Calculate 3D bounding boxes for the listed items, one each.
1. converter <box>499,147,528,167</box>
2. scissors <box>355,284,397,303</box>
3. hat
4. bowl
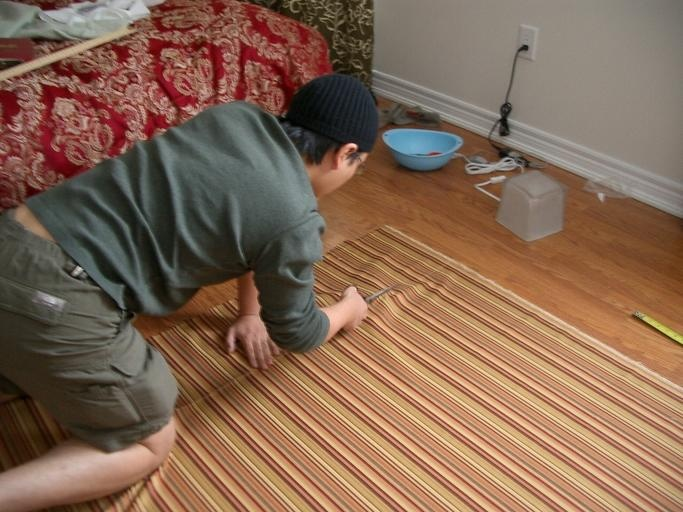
[{"bbox_3d":[0.839,-0.484,2.445,0.162,0.034,0.095,27,25,29],"label":"converter"},{"bbox_3d":[0.124,0.136,1.686,0.208,0.026,0.028,-19,8,-28],"label":"scissors"},{"bbox_3d":[0.024,-0.331,1.214,0.227,0.134,0.202,-8,37,-39],"label":"hat"},{"bbox_3d":[0.390,-0.530,2.433,0.385,0.152,0.336,8,41,11],"label":"bowl"}]
